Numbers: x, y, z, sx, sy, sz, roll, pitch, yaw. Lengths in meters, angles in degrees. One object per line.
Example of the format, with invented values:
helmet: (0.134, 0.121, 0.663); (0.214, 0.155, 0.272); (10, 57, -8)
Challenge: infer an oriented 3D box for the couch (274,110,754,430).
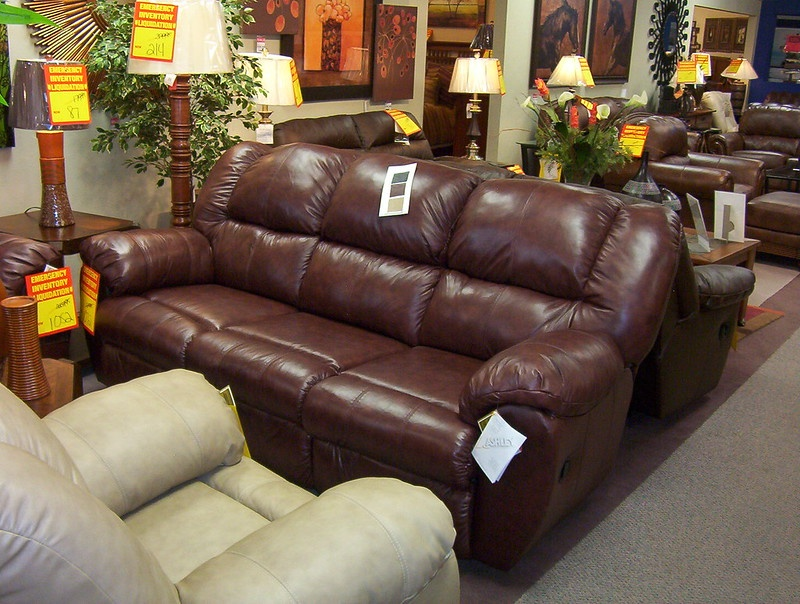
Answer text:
couch: (0.515, -0.157, 2.857); (2.233, 0.756, 0.755); (18, 20, 38)

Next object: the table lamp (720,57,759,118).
table lamp: (5.759, -3.694, 10.067); (0.539, 0.834, 0.568); (12, 29, 37)

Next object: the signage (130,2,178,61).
signage: (-1.206, -1.338, 2.926); (0.255, 0.352, 0.035); (5, 6, -10)

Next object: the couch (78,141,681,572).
couch: (-0.269, 0.013, 2.897); (2.763, 1.257, 1.306); (14, 22, 34)

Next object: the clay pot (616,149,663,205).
clay pot: (1.502, -0.732, 3.704); (0.268, 0.421, 0.271); (2, 18, -1)

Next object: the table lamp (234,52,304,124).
table lamp: (-0.889, -1.441, 4.003); (0.428, 0.495, 0.460); (13, 36, 3)

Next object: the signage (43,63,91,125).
signage: (-1.633, -1.030, 2.928); (0.269, 0.315, 0.025); (2, 6, 11)

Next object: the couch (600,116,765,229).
couch: (2.924, -1.221, 6.098); (1.179, 1.239, 1.328); (17, 28, 37)

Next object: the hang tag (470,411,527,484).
hang tag: (0.318, 0.469, 1.938); (0.146, 0.212, 0.075); (18, 24, 41)

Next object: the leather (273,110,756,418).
leather: (0.528, -0.191, 2.901); (2.205, 0.825, 0.738); (19, 21, 38)
